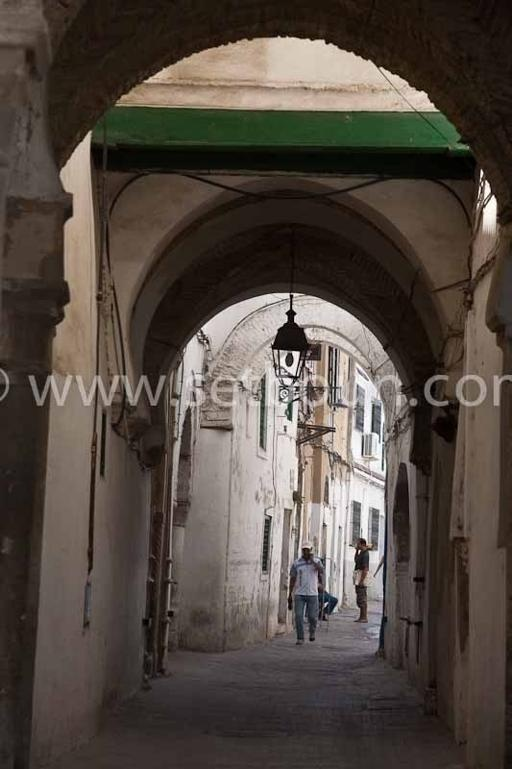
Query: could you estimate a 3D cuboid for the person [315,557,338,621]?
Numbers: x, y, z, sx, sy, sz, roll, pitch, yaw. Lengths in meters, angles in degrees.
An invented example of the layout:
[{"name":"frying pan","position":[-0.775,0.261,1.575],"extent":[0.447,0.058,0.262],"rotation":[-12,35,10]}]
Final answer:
[{"name":"person","position":[1.565,4.918,18.464],"extent":[0.405,0.481,1.146],"rotation":[2,31,-3]}]
